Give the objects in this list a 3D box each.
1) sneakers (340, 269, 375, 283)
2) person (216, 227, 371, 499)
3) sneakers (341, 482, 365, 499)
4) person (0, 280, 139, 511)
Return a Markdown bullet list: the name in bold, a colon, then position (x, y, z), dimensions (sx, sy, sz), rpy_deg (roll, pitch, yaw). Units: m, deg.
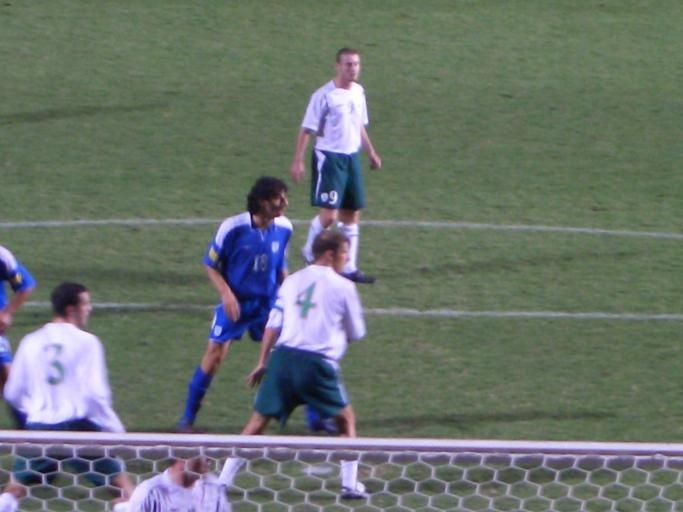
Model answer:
- **sneakers**: position (0.167, 0.193, 18.731), dimensions (0.374, 0.134, 0.113), rpy_deg (-1, 21, -6)
- **person**: position (-0.304, 0.693, 16.460), dimensions (0.989, 1.711, 0.838), rpy_deg (3, 22, -1)
- **sneakers**: position (0.100, 2.063, 16.502), dimensions (0.196, 0.147, 0.053), rpy_deg (2, -24, -7)
- **person**: position (-2.388, 1.263, 16.108), dimensions (0.943, 1.846, 1.123), rpy_deg (-4, 22, -17)
